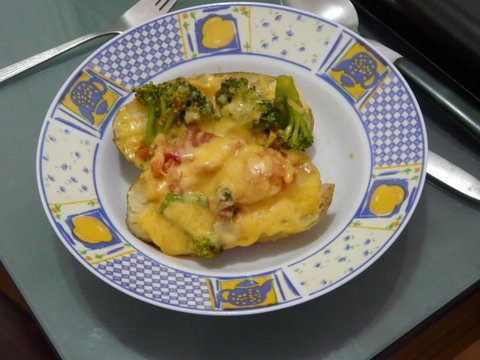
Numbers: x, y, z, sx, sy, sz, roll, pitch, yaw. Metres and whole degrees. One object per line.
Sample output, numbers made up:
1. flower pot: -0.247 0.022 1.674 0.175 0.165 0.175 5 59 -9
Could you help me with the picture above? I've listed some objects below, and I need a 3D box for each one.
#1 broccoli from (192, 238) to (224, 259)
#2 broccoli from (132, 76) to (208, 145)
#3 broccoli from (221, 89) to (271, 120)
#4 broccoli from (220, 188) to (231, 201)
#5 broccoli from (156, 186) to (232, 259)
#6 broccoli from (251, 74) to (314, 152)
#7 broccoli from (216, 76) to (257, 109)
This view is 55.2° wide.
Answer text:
1. broccoli: -0.160 0.339 2.258 0.120 0.040 0.096 4 25 -24
2. broccoli: -0.363 -0.370 2.509 0.344 0.208 0.356 7 50 19
3. broccoli: 0.029 -0.387 2.415 0.264 0.069 0.148 -14 86 -3
4. broccoli: -0.072 0.079 2.218 0.039 0.017 0.047 0 95 15
5. broccoli: -0.214 0.213 2.273 0.357 0.108 0.339 -4 86 -2
6. broccoli: 0.282 -0.336 2.498 0.182 0.434 0.341 -12 35 34
7. broccoli: -0.036 -0.474 2.425 0.158 0.069 0.174 -15 56 3
